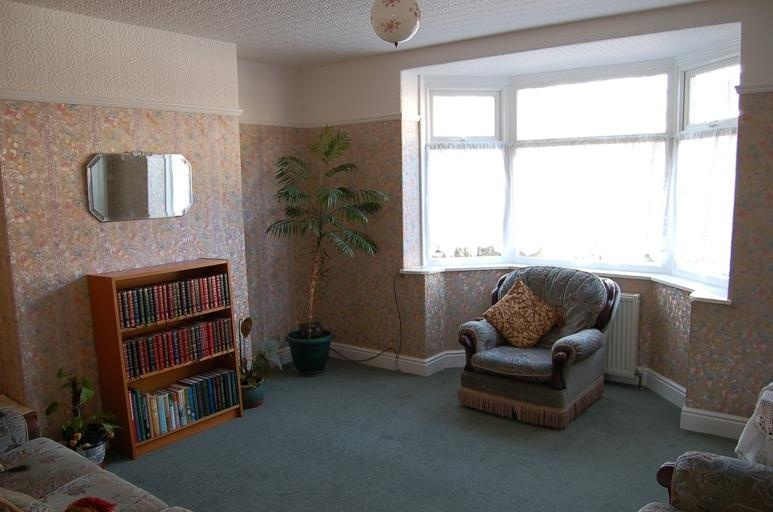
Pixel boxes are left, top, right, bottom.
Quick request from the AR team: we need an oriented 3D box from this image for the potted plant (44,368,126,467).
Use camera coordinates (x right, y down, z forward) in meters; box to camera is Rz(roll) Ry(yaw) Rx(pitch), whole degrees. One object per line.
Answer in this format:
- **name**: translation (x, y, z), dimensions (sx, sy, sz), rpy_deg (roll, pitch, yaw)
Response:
- **potted plant**: translation (-2.495, 1.408, 4.446), dimensions (0.534, 0.774, 0.423), rpy_deg (-5, 9, 44)

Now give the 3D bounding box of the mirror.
- **mirror**: translation (-2.167, -0.615, 4.751), dimensions (0.879, 0.597, 0.078), rpy_deg (-2, -2, -9)

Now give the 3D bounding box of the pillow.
- **pillow**: translation (1.344, 0.559, 5.220), dimensions (0.609, 0.588, 0.189), rpy_deg (46, 0, 23)

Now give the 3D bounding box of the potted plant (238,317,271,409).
- **potted plant**: translation (-1.368, 1.034, 5.453), dimensions (0.392, 0.875, 0.333), rpy_deg (-7, -16, 0)

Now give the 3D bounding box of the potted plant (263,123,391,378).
- **potted plant**: translation (-0.739, -0.087, 6.058), dimensions (1.042, 2.735, 1.223), rpy_deg (-11, 13, -43)

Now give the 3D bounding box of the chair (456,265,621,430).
- **chair**: translation (1.462, 0.720, 5.404), dimensions (1.504, 1.392, 1.447), rpy_deg (2, 5, 37)
